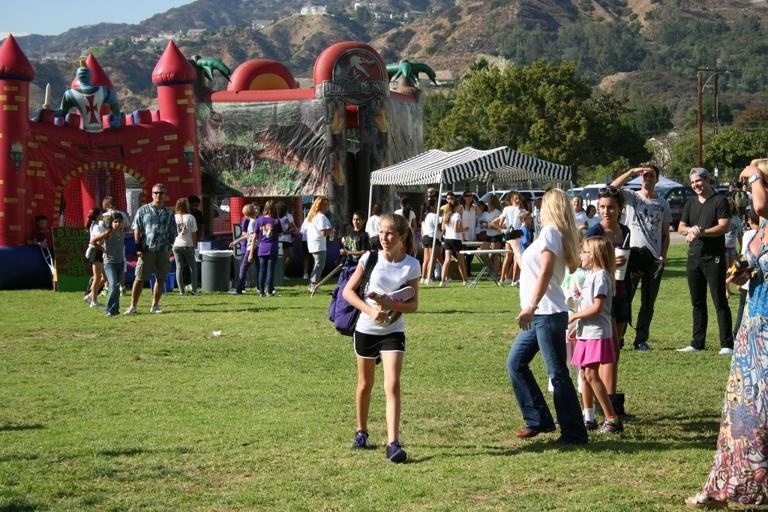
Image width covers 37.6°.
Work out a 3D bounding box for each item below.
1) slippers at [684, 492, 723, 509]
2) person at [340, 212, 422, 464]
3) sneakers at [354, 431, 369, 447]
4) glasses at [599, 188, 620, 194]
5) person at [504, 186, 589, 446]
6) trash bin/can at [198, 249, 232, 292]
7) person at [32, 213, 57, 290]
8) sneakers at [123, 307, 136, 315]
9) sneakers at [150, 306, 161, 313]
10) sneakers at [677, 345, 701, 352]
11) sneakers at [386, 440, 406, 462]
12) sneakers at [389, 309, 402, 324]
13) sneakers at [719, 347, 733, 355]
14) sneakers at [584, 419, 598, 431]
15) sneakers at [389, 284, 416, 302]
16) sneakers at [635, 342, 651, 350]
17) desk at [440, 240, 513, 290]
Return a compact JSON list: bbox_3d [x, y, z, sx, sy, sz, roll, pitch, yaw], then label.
[{"bbox_3d":[3.631,2.814,12.733,0.284,0.123,0.180,9,0,14],"label":"slippers"},{"bbox_3d":[-0.017,0.992,13.931,0.897,2.933,0.916,1,10,8],"label":"person"},{"bbox_3d":[-0.267,2.333,14.080,0.232,0.252,0.172,1,-8,-1],"label":"sneakers"},{"bbox_3d":[3.171,-0.898,15.812,0.261,0.106,0.239,2,11,13],"label":"glasses"},{"bbox_3d":[2.041,0.783,14.017,0.941,3.141,0.556,1,10,6],"label":"person"},{"bbox_3d":[-3.744,0.363,24.974,0.815,0.916,0.804,1,-5,-12],"label":"trash bin/can"},{"bbox_3d":[-7.650,-0.237,25.383,0.425,1.244,1.043,-4,11,-18],"label":"person"},{"bbox_3d":[-4.686,1.047,20.959,0.090,0.120,0.269,1,-3,34],"label":"sneakers"},{"bbox_3d":[-4.270,1.037,21.246,0.090,0.110,0.244,3,-3,-32],"label":"sneakers"},{"bbox_3d":[4.721,1.442,17.401,0.333,0.152,0.125,2,-2,13],"label":"sneakers"},{"bbox_3d":[0.156,2.431,13.769,0.145,0.154,0.304,7,-5,-28],"label":"sneakers"},{"bbox_3d":[0.142,0.765,13.866,0.116,0.162,0.043,45,-4,-34],"label":"sneakers"},{"bbox_3d":[5.216,1.491,17.183,0.120,0.113,0.253,-3,-16,27],"label":"sneakers"},{"bbox_3d":[2.674,2.193,14.470,0.096,0.128,0.274,-2,-11,16],"label":"sneakers"},{"bbox_3d":[0.238,0.483,13.888,0.284,0.162,0.090,-21,24,11],"label":"sneakers"},{"bbox_3d":[4.034,1.429,17.555,0.109,0.085,0.201,-3,-4,-19],"label":"sneakers"},{"bbox_3d":[2.292,0.175,25.584,1.131,0.736,1.131,0,-3,-32],"label":"desk"}]
